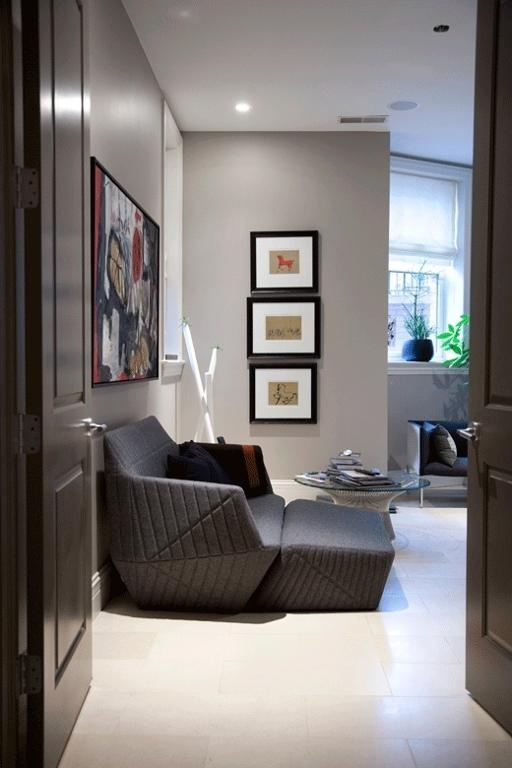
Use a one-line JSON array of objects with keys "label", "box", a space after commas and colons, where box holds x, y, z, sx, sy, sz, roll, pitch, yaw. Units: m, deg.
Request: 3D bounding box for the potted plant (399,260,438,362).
[{"label": "potted plant", "box": [1.542, -0.669, 5.275, 0.322, 0.959, 0.473, 0, -1, 21]}]

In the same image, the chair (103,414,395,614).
[{"label": "chair", "box": [-0.034, 0.614, 2.594, 0.904, 0.784, 0.845, -1, -2, 1]}]

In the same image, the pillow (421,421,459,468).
[{"label": "pillow", "box": [1.449, 0.480, 4.455, 0.264, 0.315, 0.234, 0, -1, 23]}]
